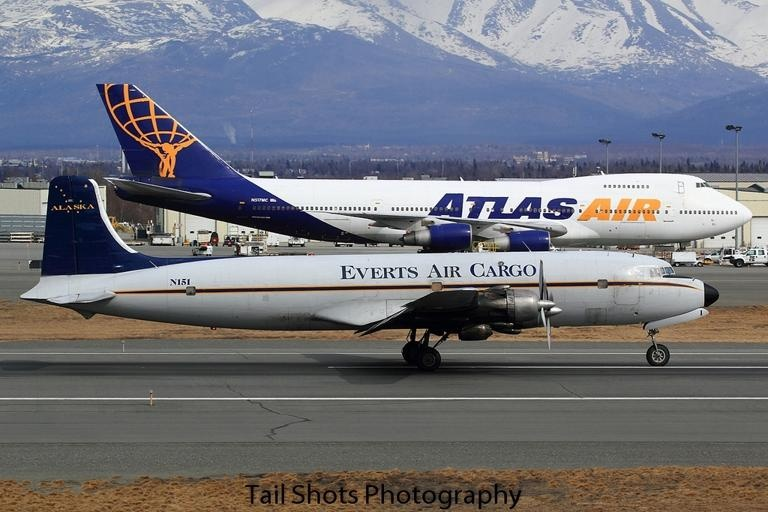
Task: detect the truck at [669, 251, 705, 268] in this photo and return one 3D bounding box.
[{"bbox_3d":[32.151,0.405,135.397,3.237,0.857,2.383,1,1,-2],"label":"truck"}]

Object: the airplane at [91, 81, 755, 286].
[{"bbox_3d":[-0.994,0.986,85.332,47.411,7.595,34.365,1,11,0],"label":"airplane"}]

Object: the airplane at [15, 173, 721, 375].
[{"bbox_3d":[0.017,1.373,95.001,78.726,15.042,15.658,0,-1,-5],"label":"airplane"}]
